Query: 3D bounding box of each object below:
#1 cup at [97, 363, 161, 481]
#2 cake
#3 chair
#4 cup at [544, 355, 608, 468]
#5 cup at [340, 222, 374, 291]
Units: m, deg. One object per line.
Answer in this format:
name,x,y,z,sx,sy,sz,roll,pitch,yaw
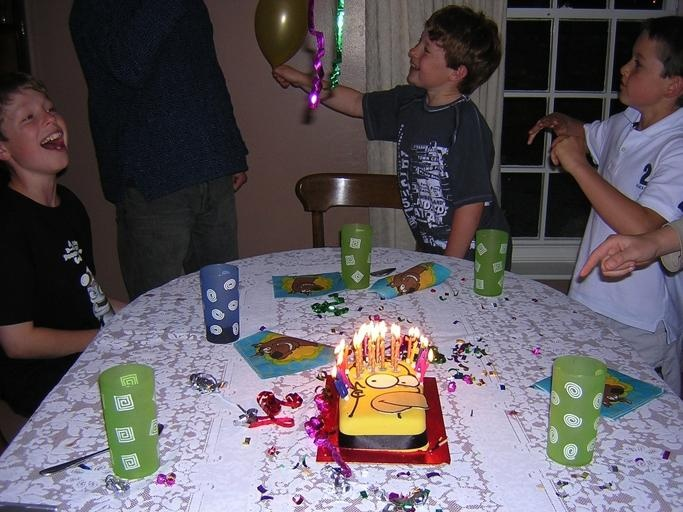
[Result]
cup,-0.385,0.297,0.942,0.095,0.174,0.138,-9,21,-25
cake,0.078,0.295,1.028,0.169,0.096,0.179,0,19,1
chair,0.010,-0.282,2.493,0.478,0.500,0.345,-3,11,-13
cup,0.450,0.278,0.983,0.094,0.175,0.177,11,22,29
cup,0.046,0.008,1.582,0.116,0.212,0.121,1,27,-1
